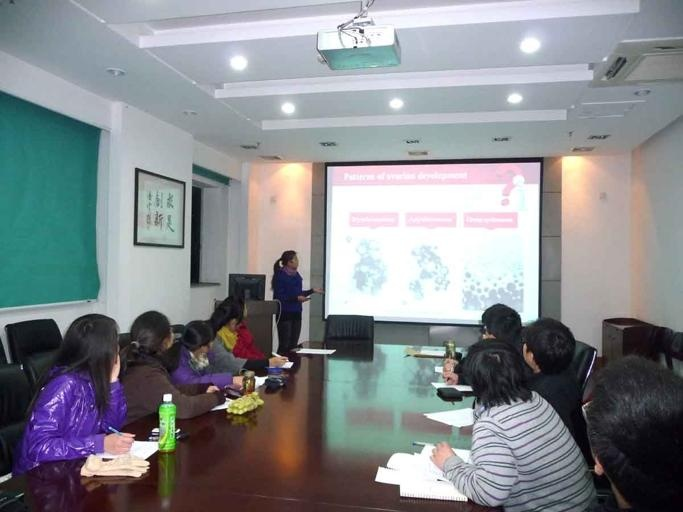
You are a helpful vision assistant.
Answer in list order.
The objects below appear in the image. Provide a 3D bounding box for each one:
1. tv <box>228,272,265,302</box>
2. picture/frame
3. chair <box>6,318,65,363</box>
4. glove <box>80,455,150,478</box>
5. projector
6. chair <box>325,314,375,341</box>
[{"bbox_3d":[-1.109,0.374,5.759,0.303,0.311,0.111,2,-5,-3],"label":"tv"},{"bbox_3d":[-2.115,-0.509,5.789,0.989,0.819,0.029,8,7,39],"label":"picture/frame"},{"bbox_3d":[-2.384,0.665,3.821,0.321,0.408,0.281,-22,-15,20],"label":"chair"},{"bbox_3d":[-0.982,0.924,2.158,0.133,0.026,0.141,1,-5,3],"label":"glove"},{"bbox_3d":[0.109,-1.235,2.926,0.447,0.167,0.319,1,3,12],"label":"projector"},{"bbox_3d":[0.073,0.755,5.204,0.494,0.236,0.169,1,3,0],"label":"chair"}]
